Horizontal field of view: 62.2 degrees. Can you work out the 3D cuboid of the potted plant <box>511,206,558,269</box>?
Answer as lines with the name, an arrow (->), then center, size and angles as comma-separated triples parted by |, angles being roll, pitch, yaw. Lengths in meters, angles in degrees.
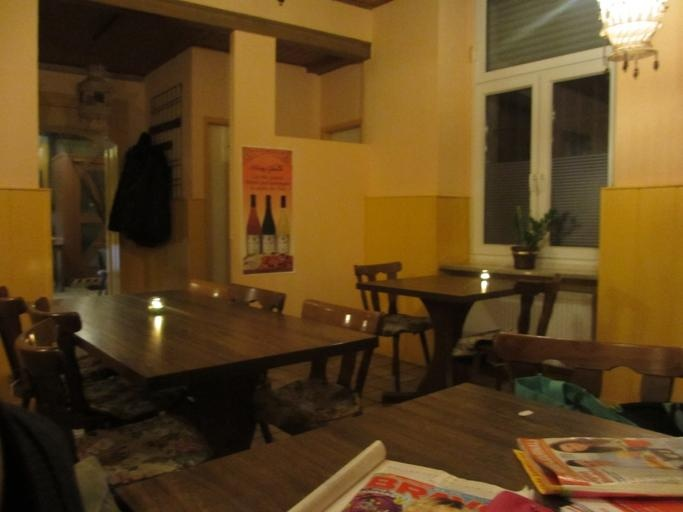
potted plant -> 1.564, -0.139, 4.607 | 0.337, 0.491, 0.257 | 4, 8, 39

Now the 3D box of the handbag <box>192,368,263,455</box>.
handbag -> -0.479, 0.662, 2.390 | 0.393, 0.359, 0.091 | 2, -5, -40

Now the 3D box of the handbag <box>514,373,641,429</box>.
handbag -> 0.663, 0.410, 1.673 | 0.204, 0.050, 0.137 | 10, -6, 43
